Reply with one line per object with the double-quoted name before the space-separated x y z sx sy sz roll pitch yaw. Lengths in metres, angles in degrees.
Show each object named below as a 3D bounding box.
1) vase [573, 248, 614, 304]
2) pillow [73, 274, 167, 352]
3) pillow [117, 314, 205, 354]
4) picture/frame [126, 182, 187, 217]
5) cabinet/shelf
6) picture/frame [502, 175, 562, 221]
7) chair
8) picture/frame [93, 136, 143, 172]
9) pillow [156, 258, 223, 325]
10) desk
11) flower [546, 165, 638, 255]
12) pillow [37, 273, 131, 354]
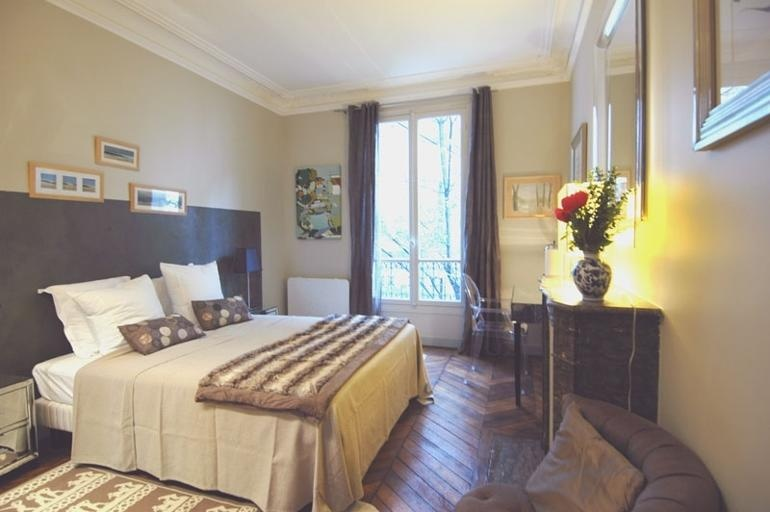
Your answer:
"vase" 1.380 0.102 3.508 0.245 0.316 0.249 -9 15 -22
"pillow" -2.270 0.466 4.448 0.186 0.580 0.623 -20 3 37
"pillow" -1.947 0.613 4.758 0.638 0.164 0.501 19 9 14
"picture/frame" -2.298 -0.567 5.293 0.023 0.278 0.638 1 0 30
"cabinet/shelf" 1.691 0.733 3.758 0.463 1.096 1.212 -2 -3 24
"picture/frame" 1.731 -0.687 6.067 0.799 0.603 0.091 0 4 14
"chair" 1.175 0.726 5.521 0.730 0.954 0.635 6 9 32
"picture/frame" -2.536 -0.969 4.912 0.031 0.293 0.403 1 1 31
"pillow" -1.919 0.365 5.079 0.215 0.529 0.629 -8 -5 27
"desk" 1.283 0.819 4.909 0.316 0.761 0.897 0 -5 1
"flower" 1.392 -0.317 3.565 0.422 0.559 0.407 3 -3 -28
"pillow" -2.489 0.499 4.345 0.142 0.573 0.604 -11 6 30
